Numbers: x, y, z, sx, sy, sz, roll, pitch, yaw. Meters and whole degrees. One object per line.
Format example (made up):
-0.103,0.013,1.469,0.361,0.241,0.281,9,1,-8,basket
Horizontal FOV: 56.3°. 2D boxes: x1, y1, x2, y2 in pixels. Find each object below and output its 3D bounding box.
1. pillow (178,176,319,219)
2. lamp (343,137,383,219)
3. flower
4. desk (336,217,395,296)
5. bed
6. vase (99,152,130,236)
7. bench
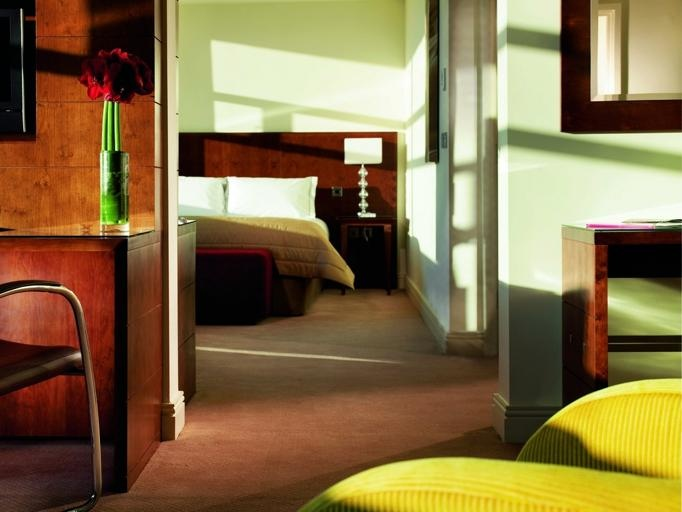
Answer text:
-0.850,-0.532,5.772,1.243,0.358,0.388,-1,7,-4,pillow
0.209,-0.742,5.978,0.363,0.737,0.349,0,7,4,lamp
-0.800,-0.411,2.297,0.252,0.603,0.247,0,6,-15,flower
0.209,0.004,5.992,0.565,0.759,0.566,-2,7,-7,desk
-0.684,0.040,5.161,1.026,0.654,1.421,3,1,-6,bed
-0.800,-0.228,2.239,0.097,0.278,0.095,-3,7,-19,vase
-0.771,0.224,4.631,0.498,0.416,0.508,0,2,0,bench
